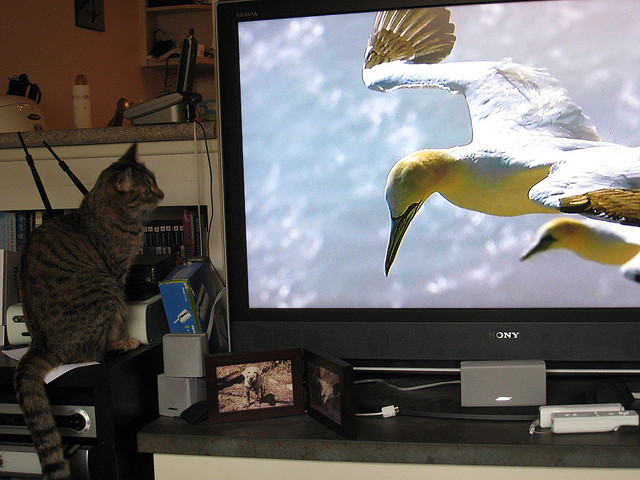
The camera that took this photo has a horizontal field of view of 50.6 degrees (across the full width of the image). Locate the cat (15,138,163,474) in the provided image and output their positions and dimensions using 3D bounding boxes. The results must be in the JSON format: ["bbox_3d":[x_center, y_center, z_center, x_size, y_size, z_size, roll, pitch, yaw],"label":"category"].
[{"bbox_3d":[-0.677,0.154,1.921,0.296,0.812,0.511,3,11,21],"label":"cat"}]

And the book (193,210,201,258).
[{"bbox_3d":[-0.407,-0.023,2.218,0.025,0.150,0.055,-3,10,-12],"label":"book"}]

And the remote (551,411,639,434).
[{"bbox_3d":[0.692,0.462,1.713,0.222,0.056,0.049,-1,2,-2],"label":"remote"}]
